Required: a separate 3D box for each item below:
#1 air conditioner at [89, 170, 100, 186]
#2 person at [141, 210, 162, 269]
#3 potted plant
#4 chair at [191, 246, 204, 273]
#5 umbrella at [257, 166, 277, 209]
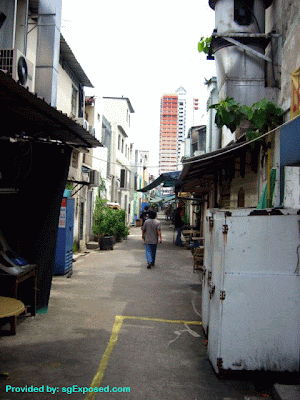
[{"bbox_3d":[-2.425,-0.959,15.881,0.211,0.865,0.747,0,-4,7],"label":"air conditioner"},{"bbox_3d":[0.053,1.228,11.738,0.600,1.813,2.194,2,-3,1],"label":"person"},{"bbox_3d":[-2.146,1.223,18.342,1.262,3.327,2.363,0,4,2],"label":"potted plant"},{"bbox_3d":[1.462,1.789,11.137,0.309,0.802,1.686,1,-3,7],"label":"chair"},{"bbox_3d":[2.060,-0.224,6.493,0.402,0.755,0.310,3,-2,-28],"label":"umbrella"}]
